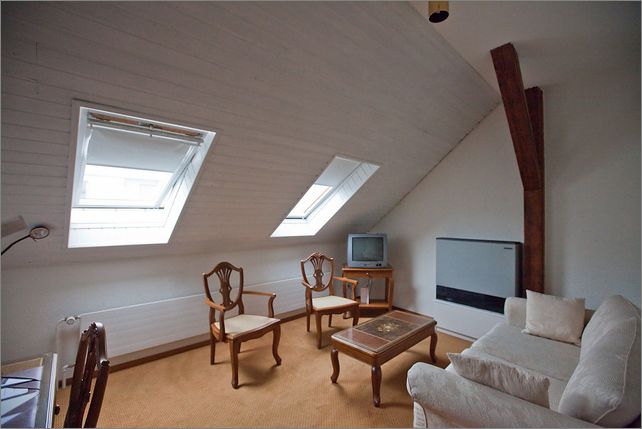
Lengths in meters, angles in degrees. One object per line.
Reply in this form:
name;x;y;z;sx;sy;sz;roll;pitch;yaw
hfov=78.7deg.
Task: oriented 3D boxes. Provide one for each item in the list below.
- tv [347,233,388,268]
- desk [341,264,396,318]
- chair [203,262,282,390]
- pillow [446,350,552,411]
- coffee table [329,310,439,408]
tv;0.689;0.534;6.027;0.761;0.613;0.451;0;0;5
desk;0.722;1.160;6.094;0.774;0.654;0.594;0;-1;-2
chair;-0.929;1.215;4.521;0.897;1.175;0.894;1;5;7
pillow;1.451;1.371;3.197;0.551;0.132;0.337;6;-44;32
coffee table;0.743;1.564;4.493;0.726;0.528;1.239;2;6;42
